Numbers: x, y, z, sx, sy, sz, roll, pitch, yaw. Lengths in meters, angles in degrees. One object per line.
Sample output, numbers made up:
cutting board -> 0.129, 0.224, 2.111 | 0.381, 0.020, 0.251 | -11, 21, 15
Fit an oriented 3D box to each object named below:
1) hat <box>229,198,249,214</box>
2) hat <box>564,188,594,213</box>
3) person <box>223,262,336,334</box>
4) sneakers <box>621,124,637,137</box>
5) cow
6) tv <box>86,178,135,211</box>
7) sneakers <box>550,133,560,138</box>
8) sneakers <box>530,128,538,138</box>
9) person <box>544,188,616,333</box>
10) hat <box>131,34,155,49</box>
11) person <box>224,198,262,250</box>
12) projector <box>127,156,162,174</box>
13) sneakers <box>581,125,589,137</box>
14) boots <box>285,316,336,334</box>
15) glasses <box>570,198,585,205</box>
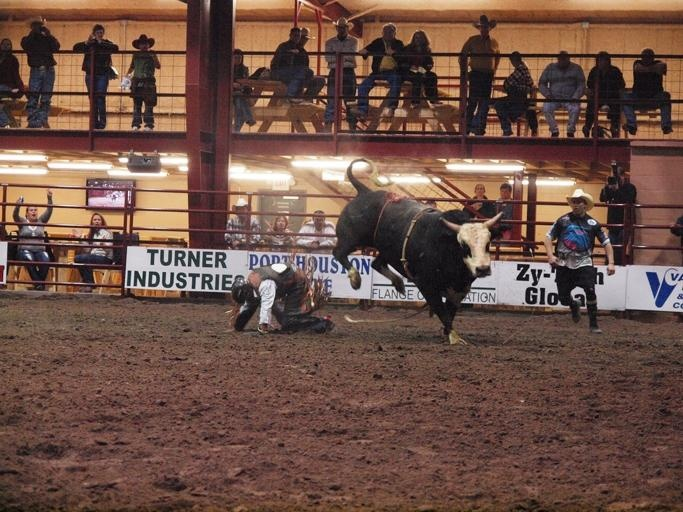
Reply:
hat -> -2.210, -1.079, 23.044 | 0.498, 0.199, 0.556 | -2, -7, -16
hat -> 4.197, -1.001, 18.765 | 0.432, 0.384, 0.749 | 1, 1, 11
person -> -1.043, 0.754, 17.886 | 1.787, 1.039, 1.047 | -1, 2, -20
sneakers -> 6.180, -2.721, 22.784 | 0.191, 0.229, 0.586 | 0, 3, 26
cow -> 0.394, -0.306, 17.909 | 1.646, 2.490, 4.559 | -12, 24, -39
tv -> -6.331, -1.709, 29.142 | 1.541, 0.924, 0.155 | 0, 2, 10
sneakers -> 4.545, -2.608, 22.705 | 0.153, 0.147, 0.158 | 6, 7, 9
sneakers -> 4.145, -2.692, 22.959 | 0.214, 0.212, 0.201 | -2, 1, -6
person -> 4.204, 0.093, 18.844 | 1.178, 2.576, 1.020 | 1, 1, 11
hat -> -4.508, -4.870, 24.017 | 0.396, 0.450, 1.079 | 0, 1, -14
person -> -2.118, -0.681, 22.674 | 0.761, 1.095, 1.981 | 1, 1, -6
projector -> -4.375, -2.051, 23.415 | 0.701, 0.415, 0.607 | 0, 1, -12
sneakers -> 5.222, -2.687, 22.676 | 0.137, 0.272, 0.412 | 1, 1, 8
boots -> -0.584, 1.198, 18.048 | 0.624, 0.214, 0.347 | -1, -2, -1
glasses -> 4.103, -0.936, 18.448 | 0.144, 0.045, 0.147 | -3, -19, 23
